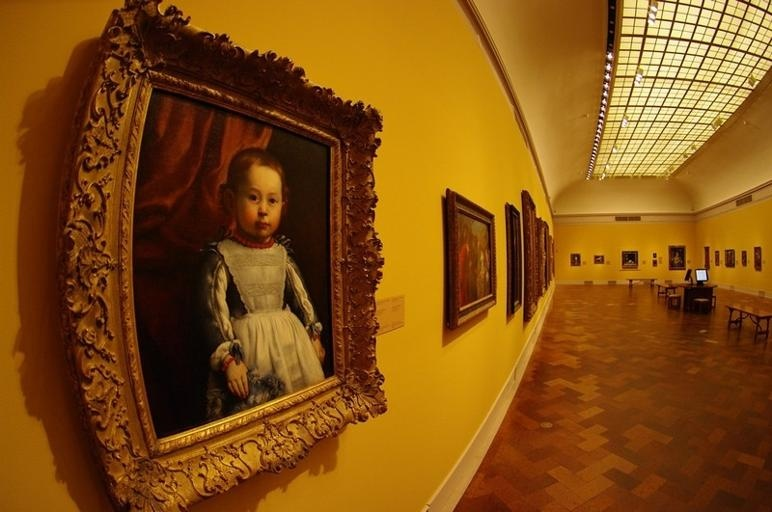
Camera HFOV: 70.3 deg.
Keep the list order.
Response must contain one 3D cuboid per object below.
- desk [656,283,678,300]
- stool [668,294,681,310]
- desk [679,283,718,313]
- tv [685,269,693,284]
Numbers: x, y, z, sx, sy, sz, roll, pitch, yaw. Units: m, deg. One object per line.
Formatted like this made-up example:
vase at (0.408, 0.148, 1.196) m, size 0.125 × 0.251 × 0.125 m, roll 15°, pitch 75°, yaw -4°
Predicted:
desk at (11.181, 1.401, 21.896) m, size 0.646 × 0.717 × 0.396 m, roll 0°, pitch 5°, yaw -31°
stool at (10.328, 1.631, 19.669) m, size 0.386 × 0.509 × 0.413 m, roll -1°, pitch 7°, yaw -14°
desk at (10.611, 1.415, 18.406) m, size 1.071 × 1.156 × 0.836 m, roll -1°, pitch 1°, yaw -18°
tv at (14.612, 0.965, 26.502) m, size 0.395 × 0.756 × 0.675 m, roll -7°, pitch -2°, yaw 39°
